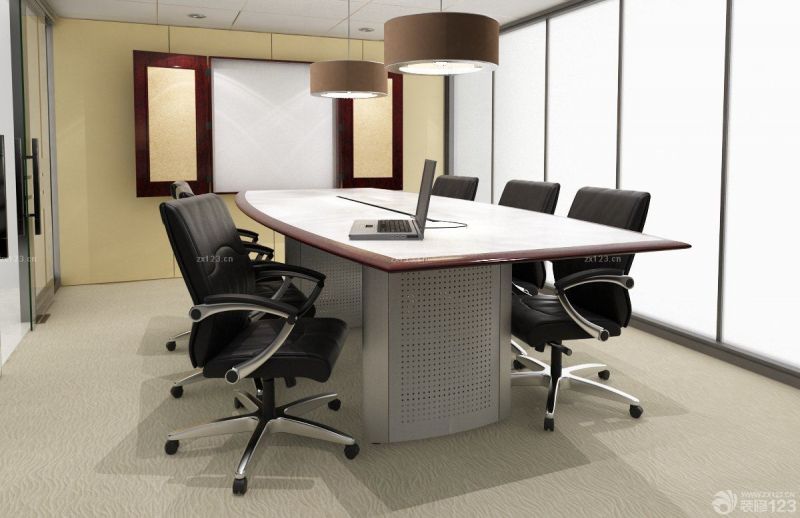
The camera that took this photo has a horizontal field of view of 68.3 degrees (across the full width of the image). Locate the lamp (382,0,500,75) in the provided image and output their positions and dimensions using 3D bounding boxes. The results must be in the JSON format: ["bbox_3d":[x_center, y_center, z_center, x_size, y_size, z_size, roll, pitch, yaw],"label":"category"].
[{"bbox_3d":[0.278,-1.502,4.223,0.625,0.648,0.602,0,5,-1],"label":"lamp"}]

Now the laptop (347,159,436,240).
[{"bbox_3d":[-0.043,-0.309,3.746,0.592,0.483,0.665,1,8,-2],"label":"laptop"}]

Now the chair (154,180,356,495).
[{"bbox_3d":[-0.955,0.395,3.598,1.089,1.584,1.210,-6,18,-22],"label":"chair"}]

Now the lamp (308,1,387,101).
[{"bbox_3d":[-0.541,-2.062,5.861,0.818,0.847,0.788,1,4,-2],"label":"lamp"}]
